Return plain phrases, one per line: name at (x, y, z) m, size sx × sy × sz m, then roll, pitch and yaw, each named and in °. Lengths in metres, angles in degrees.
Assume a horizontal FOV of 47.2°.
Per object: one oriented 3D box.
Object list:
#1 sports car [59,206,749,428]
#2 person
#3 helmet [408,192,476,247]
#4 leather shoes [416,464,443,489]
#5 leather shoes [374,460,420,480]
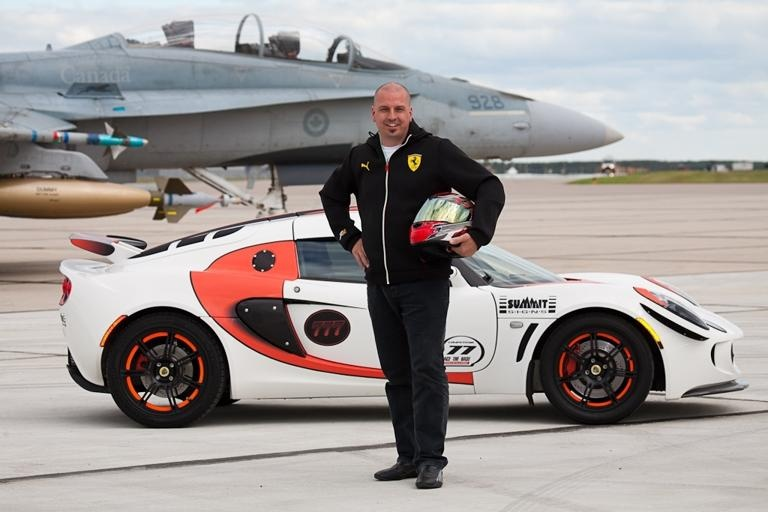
sports car at (-0.095, 0.512, 7.855) m, size 5.196 × 1.193 × 2.286 m, roll -1°, pitch 2°, yaw -3°
person at (0.125, 0.177, 6.239) m, size 1.235 × 2.789 × 0.665 m, roll 7°, pitch 11°, yaw 35°
helmet at (0.386, -0.290, 6.159) m, size 0.407 × 0.352 × 0.554 m, roll 13°, pitch 16°, yaw 36°
leather shoes at (0.308, 1.513, 6.031) m, size 0.177 × 0.096 × 0.307 m, roll -1°, pitch -9°, yaw 3°
leather shoes at (0.095, 1.525, 6.260) m, size 0.393 × 0.117 × 0.114 m, roll 2°, pitch -2°, yaw -16°
